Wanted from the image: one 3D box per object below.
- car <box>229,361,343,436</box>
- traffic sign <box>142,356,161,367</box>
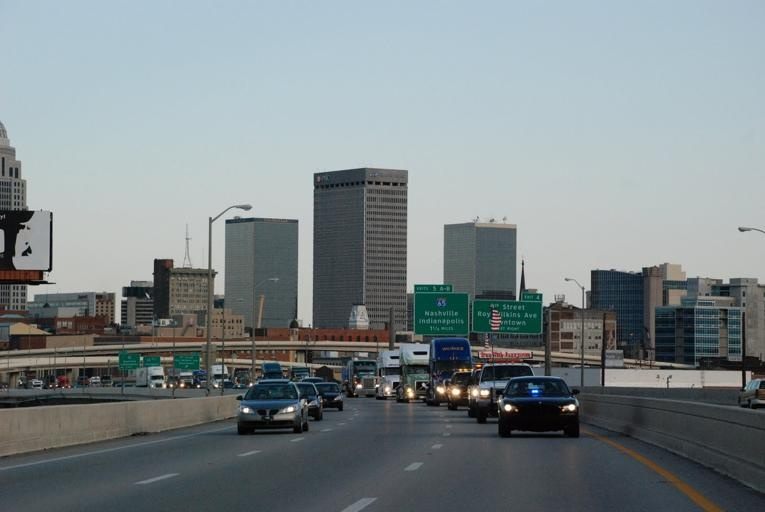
[{"bbox_3d":[-3.878,5.310,43.587,2.689,1.976,5.738,0,-6,0],"label":"car"},{"bbox_3d":[-25.061,11.473,132.248,1.742,1.211,2.968,1,-6,-14],"label":"traffic sign"}]
